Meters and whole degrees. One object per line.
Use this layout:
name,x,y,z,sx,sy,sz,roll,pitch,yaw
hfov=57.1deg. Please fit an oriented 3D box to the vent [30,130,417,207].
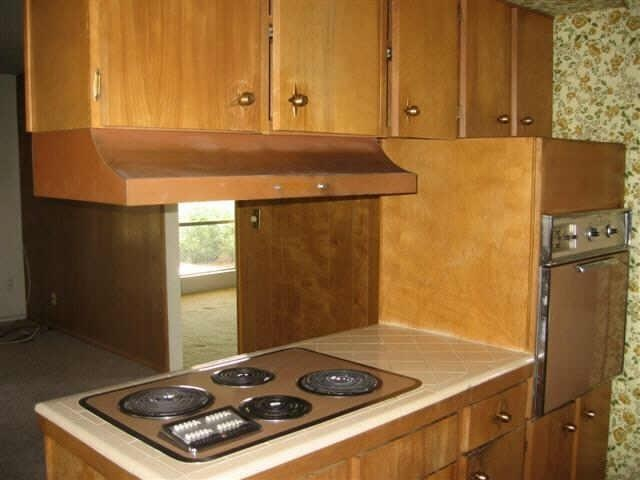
vent,-0.286,-0.245,1.888,1.110,0.207,0.476,-5,12,-29
